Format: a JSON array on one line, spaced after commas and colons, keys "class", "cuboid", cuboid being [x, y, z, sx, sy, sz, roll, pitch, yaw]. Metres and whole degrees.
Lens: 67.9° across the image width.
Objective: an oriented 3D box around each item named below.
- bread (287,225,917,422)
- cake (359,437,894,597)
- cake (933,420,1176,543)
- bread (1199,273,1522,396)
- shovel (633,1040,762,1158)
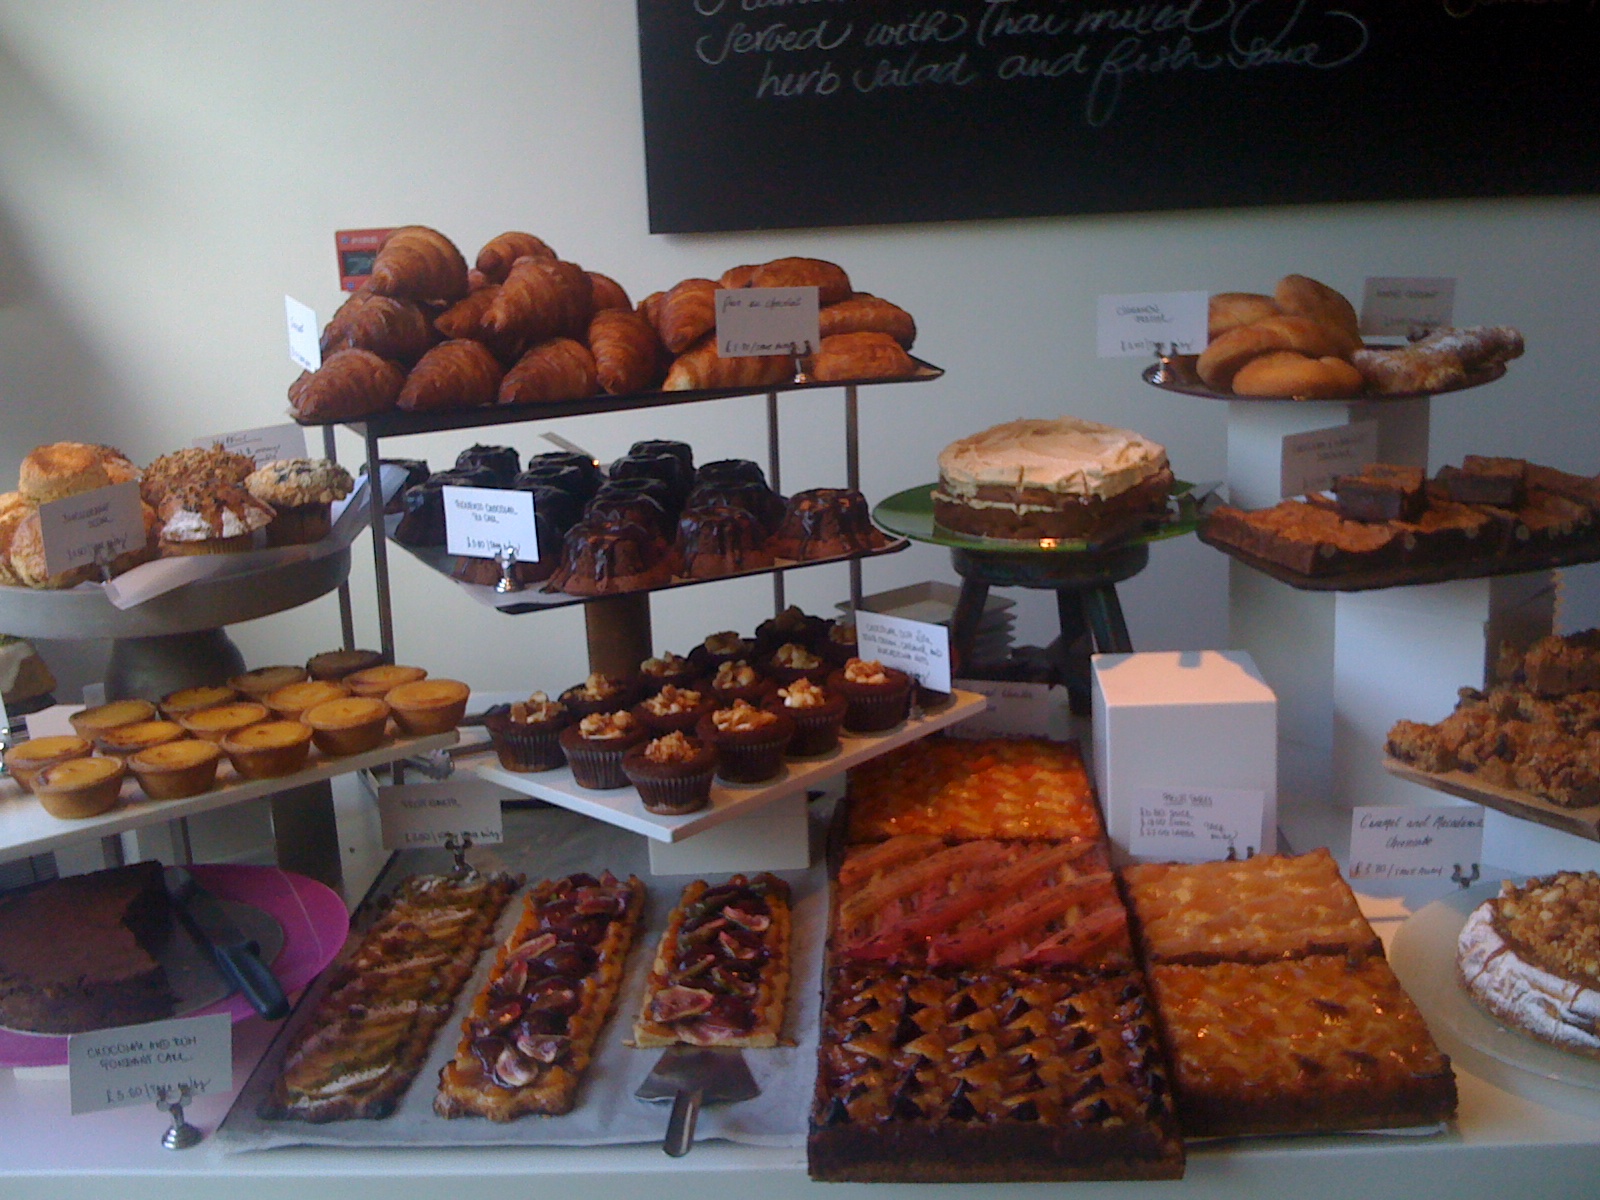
[{"class": "bread", "cuboid": [-0.369, -0.456, 2.080, 0.765, 0.205, 0.547, -8, 14, -29]}, {"class": "cake", "cuboid": [-0.343, -0.209, 2.357, 0.854, 0.232, 0.783, -14, 22, -23]}, {"class": "cake", "cuboid": [0.529, -0.200, 2.485, 0.481, 0.142, 0.487, -1, 7, -18]}, {"class": "bread", "cuboid": [1.063, -0.510, 2.352, 0.567, 0.213, 0.463, 12, 26, 39]}, {"class": "shovel", "cuboid": [-0.149, 0.704, 1.669, 0.167, 0.032, 0.281, 0, 18, 3]}]
